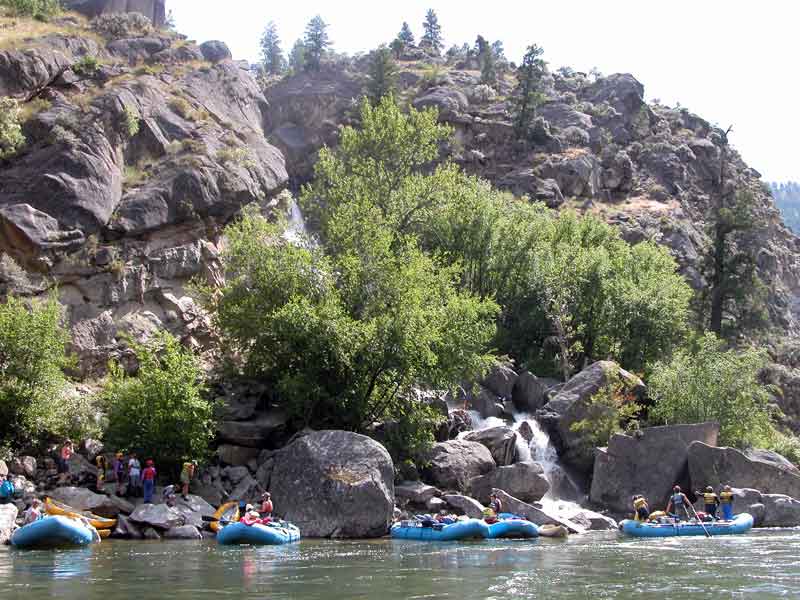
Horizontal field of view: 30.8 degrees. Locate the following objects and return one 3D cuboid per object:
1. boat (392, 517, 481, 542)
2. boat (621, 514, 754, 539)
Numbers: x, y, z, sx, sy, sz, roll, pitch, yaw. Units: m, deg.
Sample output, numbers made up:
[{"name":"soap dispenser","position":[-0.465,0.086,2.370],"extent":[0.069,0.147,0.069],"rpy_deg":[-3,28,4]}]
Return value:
[{"name":"boat","position":[2.632,14.499,92.926],"extent":[3.600,1.137,2.421],"rpy_deg":[-2,-16,2]},{"name":"boat","position":[18.561,14.547,94.313],"extent":[5.760,1.219,3.117],"rpy_deg":[0,-10,-4]}]
